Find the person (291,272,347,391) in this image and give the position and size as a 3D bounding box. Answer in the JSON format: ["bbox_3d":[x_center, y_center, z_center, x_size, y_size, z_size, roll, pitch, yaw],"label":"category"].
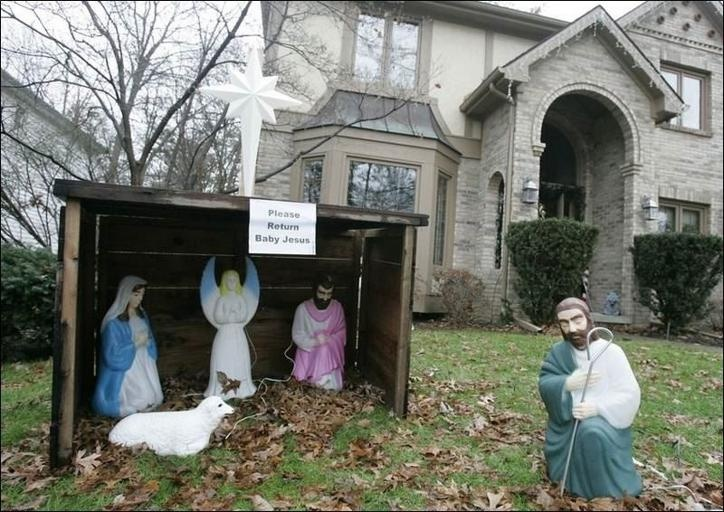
[{"bbox_3d":[-0.654,1.172,8.534,0.810,1.757,0.314,1,-1,-8],"label":"person"}]

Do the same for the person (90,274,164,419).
[{"bbox_3d":[-3.276,1.261,7.776,0.879,1.698,0.353,1,-1,-27],"label":"person"}]

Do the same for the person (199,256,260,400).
[{"bbox_3d":[-1.960,1.044,8.203,0.839,1.531,0.448,1,-1,-16],"label":"person"}]

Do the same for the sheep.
[{"bbox_3d":[-2.393,2.168,7.509,1.827,0.799,0.663,0,6,-13],"label":"sheep"}]
